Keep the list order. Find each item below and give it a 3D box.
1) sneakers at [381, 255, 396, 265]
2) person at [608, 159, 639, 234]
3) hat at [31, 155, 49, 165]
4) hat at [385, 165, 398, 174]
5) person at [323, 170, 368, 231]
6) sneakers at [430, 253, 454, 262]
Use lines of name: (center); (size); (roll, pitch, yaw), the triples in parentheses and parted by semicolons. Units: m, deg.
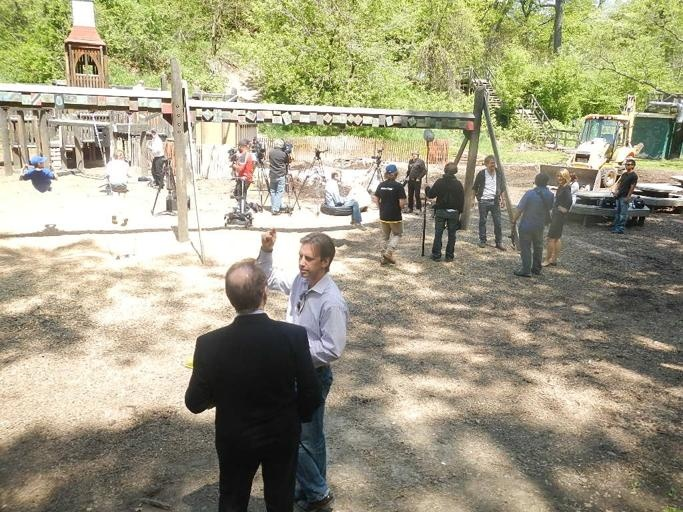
sneakers: (1.063, 0.092, 12.319); (0.140, 0.175, 0.387); (1, -2, 30)
person: (7.948, -1.647, 15.362); (0.442, 2.155, 1.093); (8, 17, 26)
hat: (-8.206, -2.554, 14.750); (0.312, 0.249, 0.723); (-6, 17, -23)
hat: (1.041, -1.795, 11.477); (0.184, 0.135, 0.257); (6, 42, 12)
person: (0.028, -1.684, 15.868); (1.231, 1.588, 0.969); (0, 15, -2)
sneakers: (2.332, 0.024, 12.730); (0.530, 0.234, 0.183); (0, 3, -2)
